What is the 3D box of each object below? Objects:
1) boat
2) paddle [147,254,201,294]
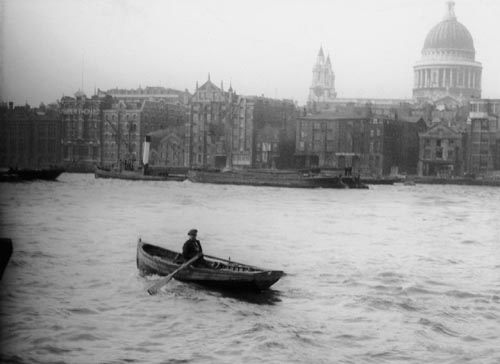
[{"bbox_3d":[-1.986,3.820,40.350,6.885,1.281,1.542,5,8,29],"label":"boat"},{"bbox_3d":[-3.200,3.994,40.389,2.692,0.418,0.141,-34,-12,-13],"label":"paddle"}]
